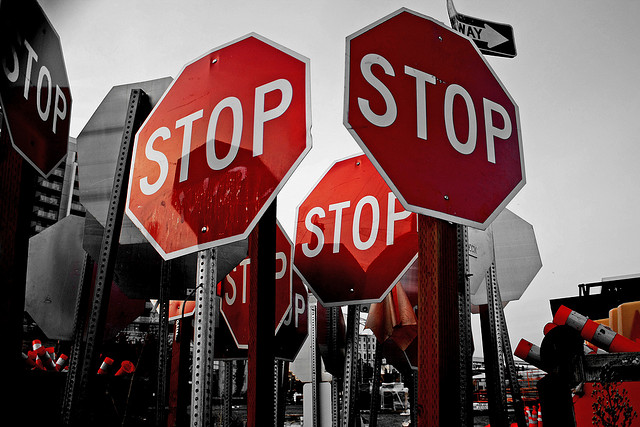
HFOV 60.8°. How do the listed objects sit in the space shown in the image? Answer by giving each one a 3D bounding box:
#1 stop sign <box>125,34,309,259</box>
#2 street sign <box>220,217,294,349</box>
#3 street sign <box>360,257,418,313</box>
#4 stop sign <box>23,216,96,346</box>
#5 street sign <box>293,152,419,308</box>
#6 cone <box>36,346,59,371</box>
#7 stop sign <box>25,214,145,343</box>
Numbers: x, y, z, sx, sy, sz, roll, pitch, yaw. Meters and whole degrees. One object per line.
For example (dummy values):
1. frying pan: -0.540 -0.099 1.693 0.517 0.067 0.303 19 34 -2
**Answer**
1. stop sign: -0.734 -0.441 3.800 1.589 1.564 0.060 -25 -32 28
2. street sign: -0.544 0.554 4.505 0.043 1.322 1.040 13 -23 -40
3. street sign: 1.117 1.029 7.982 0.211 0.954 0.953 13 2 -6
4. stop sign: -2.857 0.655 5.875 0.573 1.204 0.537 16 -29 -28
5. street sign: 0.323 0.149 4.989 1.275 1.653 0.181 -9 -31 22
6. cone: -3.341 1.776 6.621 0.275 0.265 0.352 15 -30 -25
7. stop sign: -2.888 0.823 6.096 1.439 1.510 0.022 -8 6 -19
